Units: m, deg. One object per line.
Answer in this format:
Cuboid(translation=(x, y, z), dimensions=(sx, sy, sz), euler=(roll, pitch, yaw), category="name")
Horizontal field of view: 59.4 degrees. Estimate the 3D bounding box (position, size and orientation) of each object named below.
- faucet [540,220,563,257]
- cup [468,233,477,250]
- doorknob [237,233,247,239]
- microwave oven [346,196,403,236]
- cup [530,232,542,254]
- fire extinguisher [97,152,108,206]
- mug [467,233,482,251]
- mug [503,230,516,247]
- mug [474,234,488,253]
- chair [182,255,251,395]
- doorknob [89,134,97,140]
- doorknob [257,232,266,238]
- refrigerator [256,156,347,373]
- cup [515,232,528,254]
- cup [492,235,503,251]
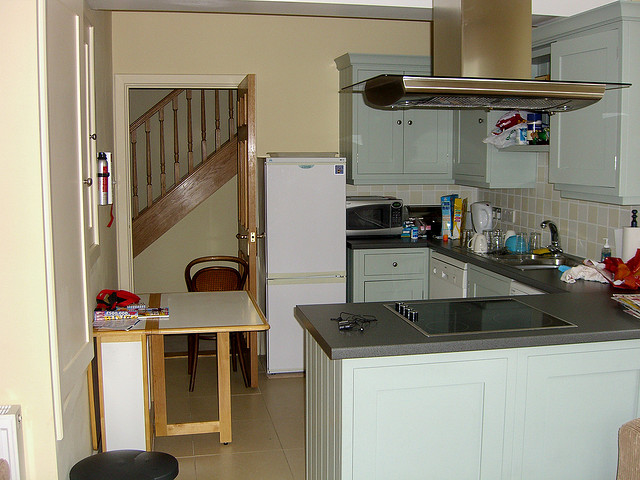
Cuboid(translation=(1.852, -0.016, 4.470), dimensions=(0.147, 0.280, 0.303), euler=(6, 13, 31), category="faucet")
Cuboid(translation=(1.296, 0.021, 4.823), dimensions=(0.108, 0.120, 0.073), euler=(-1, 6, 3), category="cup")
Cuboid(translation=(-0.726, -0.038, 5.144), dimensions=(0.047, 0.046, 0.158), euler=(2, 0, -21), category="doorknob")
Cuboid(translation=(0.501, -0.221, 5.297), dimensions=(0.475, 0.331, 0.374), euler=(-1, 1, -16), category="microwave oven")
Cuboid(translation=(1.792, 0.020, 4.678), dimensions=(0.093, 0.143, 0.330), euler=(4, 12, 21), category="cup")
Cuboid(translation=(-1.411, -0.397, 3.629), dimensions=(0.059, 0.336, 0.142), euler=(-6, 12, -28), category="fire extinguisher")
Cuboid(translation=(1.317, 0.015, 4.831), dimensions=(0.134, 0.155, 0.087), euler=(1, -5, 12), category="mug")
Cuboid(translation=(1.661, -0.021, 4.931), dimensions=(0.097, 0.144, 0.355), euler=(4, 12, 19), category="mug")
Cuboid(translation=(1.341, 0.037, 4.691), dimensions=(0.105, 0.144, 0.137), euler=(0, 4, -3), category="mug")
Cuboid(translation=(-0.928, 0.716, 4.813), dimensions=(0.554, 1.081, 0.703), euler=(3, 9, 1), category="chair")
Cuboid(translation=(-1.339, -0.610, 3.292), dimensions=(0.059, 0.023, 0.061), euler=(-1, 0, -9), category="doorknob")
Cuboid(translation=(-0.530, -0.036, 5.056), dimensions=(0.017, 0.068, 0.056), euler=(7, 1, -40), category="doorknob")
Cuboid(translation=(-0.131, 0.237, 4.951), dimensions=(0.715, 1.903, 0.312), euler=(0, 11, -1), category="refrigerator")
Cuboid(translation=(1.695, 0.026, 4.723), dimensions=(0.098, 0.143, 0.211), euler=(4, 12, 20), category="cup")
Cuboid(translation=(1.541, 0.013, 4.834), dimensions=(0.069, 0.122, 0.199), euler=(8, 14, 36), category="cup")
